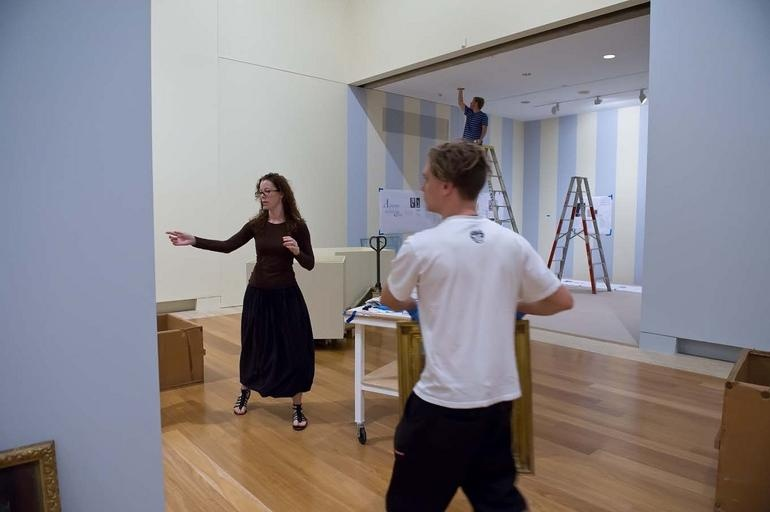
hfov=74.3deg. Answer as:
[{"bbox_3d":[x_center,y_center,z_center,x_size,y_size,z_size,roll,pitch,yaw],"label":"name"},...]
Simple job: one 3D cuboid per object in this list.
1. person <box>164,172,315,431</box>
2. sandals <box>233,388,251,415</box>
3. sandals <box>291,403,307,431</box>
[{"bbox_3d":[-0.945,0.330,4.051,0.759,1.954,0.479,0,8,16],"label":"person"},{"bbox_3d":[-1.197,1.196,4.223,0.087,0.112,0.256,8,17,-7],"label":"sandals"},{"bbox_3d":[-0.682,1.249,3.922,0.078,0.089,0.218,-2,4,-9],"label":"sandals"}]
